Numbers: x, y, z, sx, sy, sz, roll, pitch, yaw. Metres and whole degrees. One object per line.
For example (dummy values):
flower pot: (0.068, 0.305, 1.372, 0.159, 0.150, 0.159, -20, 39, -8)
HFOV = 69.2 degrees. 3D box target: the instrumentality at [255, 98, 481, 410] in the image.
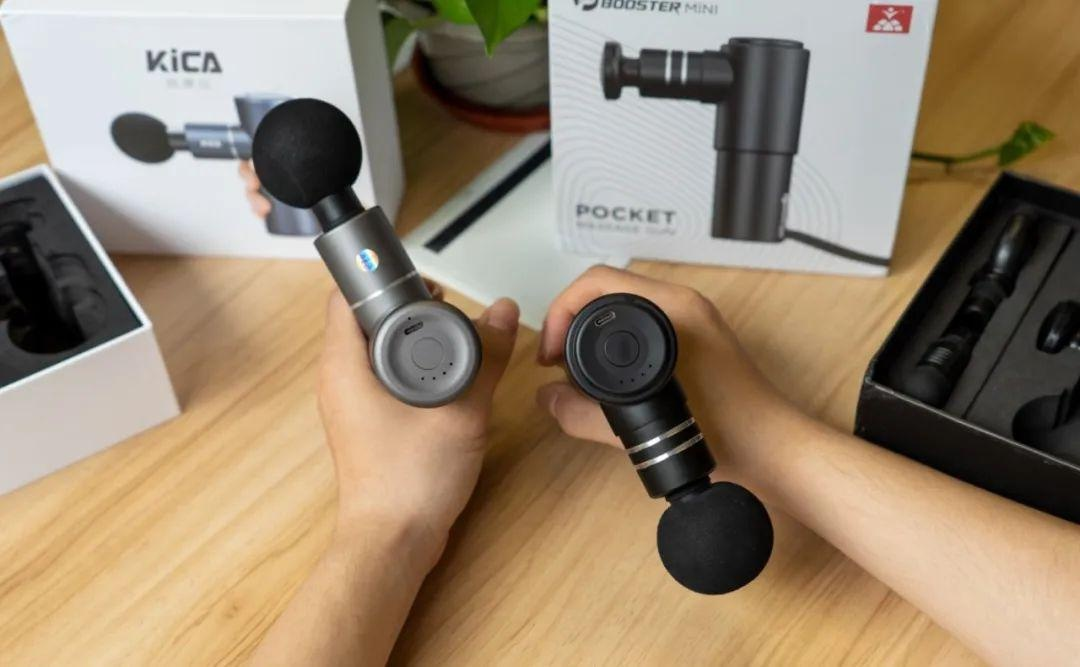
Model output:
instrumentality: (-0.161, -0.072, 0.786, 0.139, 0.376, 0.135, -24, -8, -39)

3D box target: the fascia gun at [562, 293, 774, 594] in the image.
fascia gun: (0.107, 0.088, 0.760, 0.120, 0.352, 0.137, -23, -5, 2)

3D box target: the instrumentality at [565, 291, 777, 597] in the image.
instrumentality: (0.106, 0.088, 0.761, 0.120, 0.352, 0.137, -23, -5, 4)
